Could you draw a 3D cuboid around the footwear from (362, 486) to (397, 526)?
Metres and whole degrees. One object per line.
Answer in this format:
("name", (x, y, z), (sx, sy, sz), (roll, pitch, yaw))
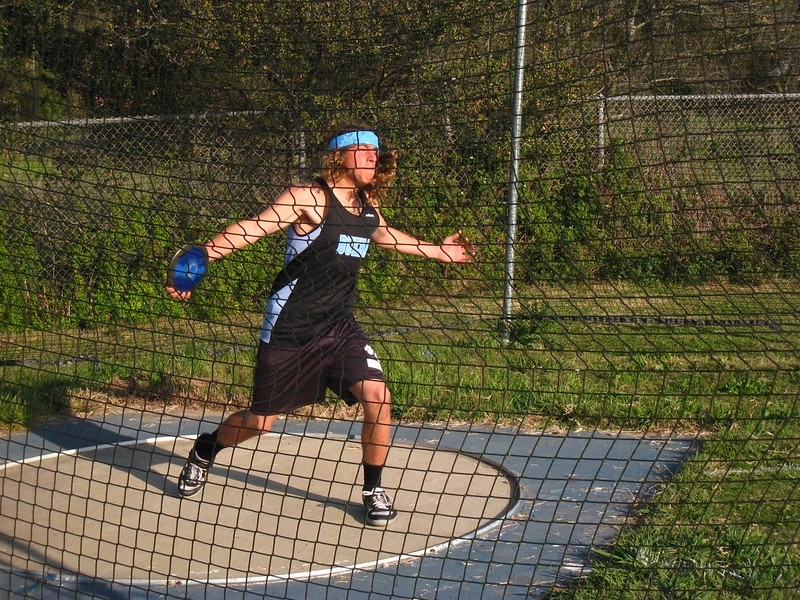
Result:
("footwear", (-0.126, 1.283, 6.051), (0.134, 0.122, 0.276), (-1, 3, -16))

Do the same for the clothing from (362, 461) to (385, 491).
("clothing", (-0.173, 1.104, 6.092), (0.160, 0.200, 0.119), (-5, -7, 20))

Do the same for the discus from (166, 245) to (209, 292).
("discus", (-1.236, -0.187, 5.719), (0.226, 0.282, 0.111), (3, 7, -13))

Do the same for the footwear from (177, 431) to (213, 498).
("footwear", (-1.310, 1.077, 6.279), (0.147, 0.454, 0.197), (25, -33, -24))

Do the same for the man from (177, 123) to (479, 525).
("man", (-0.573, 0.127, 6.118), (1.248, 2.398, 0.608), (4, 7, -6))

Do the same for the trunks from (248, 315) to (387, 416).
("trunks", (-0.527, 0.435, 6.216), (0.670, 0.520, 0.260), (-11, -5, -4))
